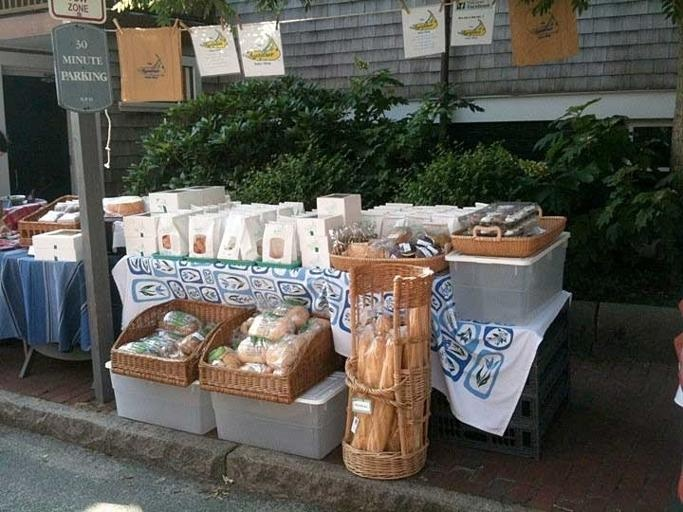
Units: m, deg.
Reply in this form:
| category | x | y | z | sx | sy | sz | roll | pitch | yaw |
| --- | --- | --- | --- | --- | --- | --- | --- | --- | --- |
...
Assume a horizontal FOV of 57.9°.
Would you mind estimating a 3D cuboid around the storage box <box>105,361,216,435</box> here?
| category | x | y | z | sx | sy | sz | roll | pitch | yaw |
| --- | --- | --- | --- | --- | --- | --- | --- | --- | --- |
| storage box | -1.336 | 1.031 | 4.580 | 0.697 | 0.345 | 0.474 | 2 | 0 | 17 |

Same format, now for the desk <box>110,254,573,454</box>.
| category | x | y | z | sx | sy | sz | roll | pitch | yaw |
| --- | --- | --- | --- | --- | --- | --- | --- | --- | --- |
| desk | 0.194 | 0.363 | 4.669 | 2.444 | 1.000 | 1.650 | 3 | 8 | 23 |

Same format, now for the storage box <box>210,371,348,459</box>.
| category | x | y | z | sx | sy | sz | roll | pitch | yaw |
| --- | --- | --- | --- | --- | --- | --- | --- | --- | --- |
| storage box | -0.446 | 1.107 | 4.485 | 0.943 | 0.439 | 0.720 | 3 | 6 | 19 |

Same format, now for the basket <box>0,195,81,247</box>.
| category | x | y | z | sx | sy | sz | roll | pitch | yaw |
| --- | --- | --- | --- | --- | --- | --- | --- | --- | --- |
| basket | -2.793 | -0.370 | 6.103 | 0.725 | 0.303 | 0.743 | 4 | 16 | 19 |

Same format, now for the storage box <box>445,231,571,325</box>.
| category | x | y | z | sx | sy | sz | roll | pitch | yaw |
| --- | --- | --- | --- | --- | --- | --- | --- | --- | --- |
| storage box | 1.202 | 0.129 | 4.383 | 0.636 | 0.433 | 0.998 | 3 | 12 | 35 |

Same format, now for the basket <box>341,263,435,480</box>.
| category | x | y | z | sx | sy | sz | roll | pitch | yaw |
| --- | --- | --- | --- | --- | --- | --- | --- | --- | --- |
| basket | 0.284 | 0.716 | 3.894 | 0.569 | 1.324 | 0.424 | 1 | 12 | 16 |
